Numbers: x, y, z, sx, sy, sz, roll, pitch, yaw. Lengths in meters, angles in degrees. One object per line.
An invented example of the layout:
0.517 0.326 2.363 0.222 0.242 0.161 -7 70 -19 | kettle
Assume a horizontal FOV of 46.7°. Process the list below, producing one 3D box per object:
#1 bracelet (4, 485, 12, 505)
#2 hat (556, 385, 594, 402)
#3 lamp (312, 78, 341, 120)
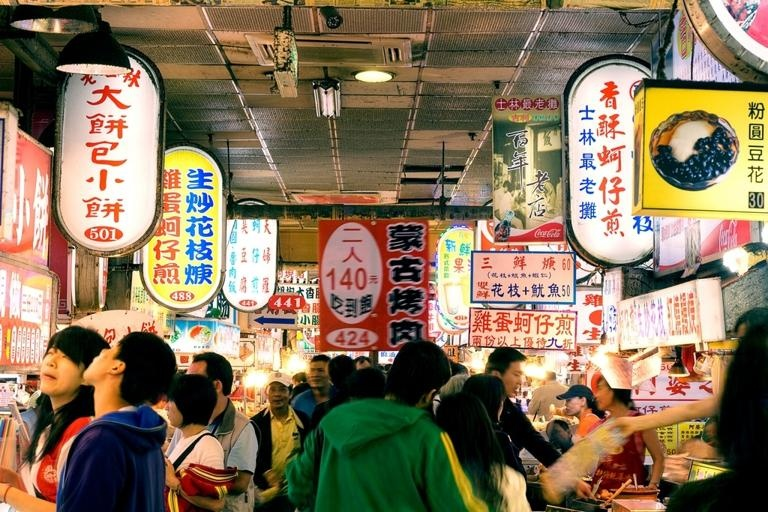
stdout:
-2.153 1.369 5.078 0.042 0.086 0.070 4 -3 6 | bracelet
2.109 1.504 9.822 0.355 0.152 0.209 6 -17 3 | hat
-0.707 -1.962 11.244 0.376 0.166 0.462 4 -48 5 | lamp
